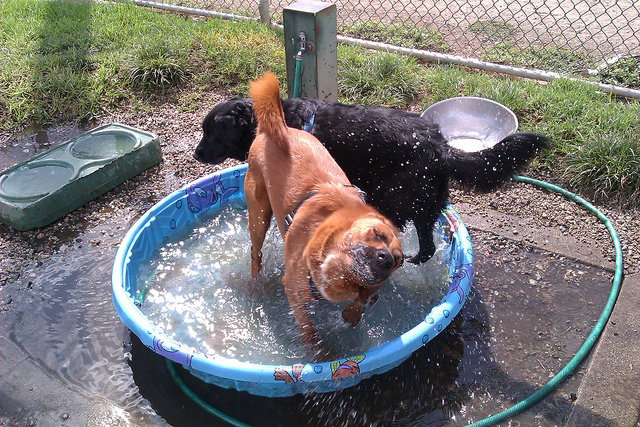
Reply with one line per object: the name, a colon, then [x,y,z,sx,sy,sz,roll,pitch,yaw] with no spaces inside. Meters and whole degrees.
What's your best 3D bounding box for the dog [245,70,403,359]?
dog: [0.010,0.105,4.628,0.894,1.503,2.029,-19,62,-19]
